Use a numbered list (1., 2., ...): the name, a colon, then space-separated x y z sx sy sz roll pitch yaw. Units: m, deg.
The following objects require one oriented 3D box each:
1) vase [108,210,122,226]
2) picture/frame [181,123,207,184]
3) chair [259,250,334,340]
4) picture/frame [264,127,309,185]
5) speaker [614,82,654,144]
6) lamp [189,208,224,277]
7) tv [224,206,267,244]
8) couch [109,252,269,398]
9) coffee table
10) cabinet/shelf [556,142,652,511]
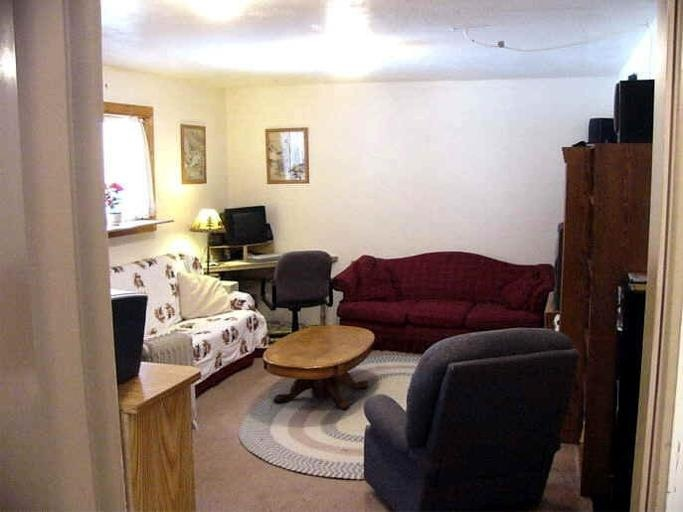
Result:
1. vase: -1.498 -0.253 3.769 0.092 0.101 0.091 1 1 -6
2. picture/frame: -1.148 -0.790 4.450 0.322 0.452 0.012 9 13 38
3. chair: -0.342 0.299 4.281 0.532 0.671 0.469 -4 7 -40
4. picture/frame: -0.416 -0.802 4.478 0.390 0.440 0.020 8 21 26
5. speaker: 1.053 -0.513 2.039 0.114 0.221 0.069 2 15 33
6. lamp: -1.047 -0.095 4.513 0.258 0.562 0.251 8 20 10
7. tv: -0.814 -0.249 4.712 0.357 0.316 0.190 -10 14 -36
8. couch: -1.021 0.348 3.913 0.748 0.835 1.309 -2 5 24
9. coffee table: -0.098 0.682 3.484 0.592 0.321 0.787 1 10 10
10. cabinet/shelf: 1.040 0.242 2.266 0.316 1.364 0.671 -1 14 21
